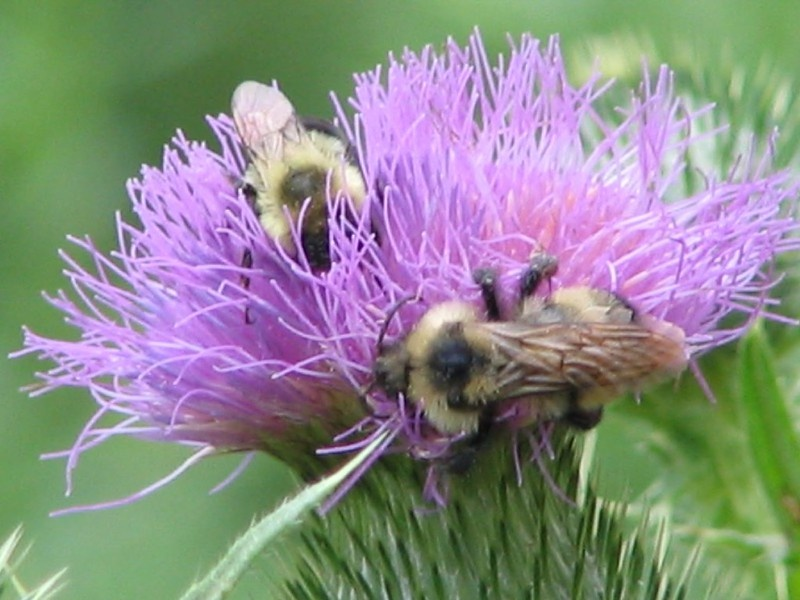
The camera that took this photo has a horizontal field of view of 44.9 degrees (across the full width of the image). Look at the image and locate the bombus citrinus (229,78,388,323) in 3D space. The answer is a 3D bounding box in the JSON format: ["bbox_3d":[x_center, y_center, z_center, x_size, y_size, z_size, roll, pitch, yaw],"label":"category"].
[{"bbox_3d":[-0.193,-0.244,1.848,0.236,0.312,0.283,-25,33,-6],"label":"bombus citrinus"}]
